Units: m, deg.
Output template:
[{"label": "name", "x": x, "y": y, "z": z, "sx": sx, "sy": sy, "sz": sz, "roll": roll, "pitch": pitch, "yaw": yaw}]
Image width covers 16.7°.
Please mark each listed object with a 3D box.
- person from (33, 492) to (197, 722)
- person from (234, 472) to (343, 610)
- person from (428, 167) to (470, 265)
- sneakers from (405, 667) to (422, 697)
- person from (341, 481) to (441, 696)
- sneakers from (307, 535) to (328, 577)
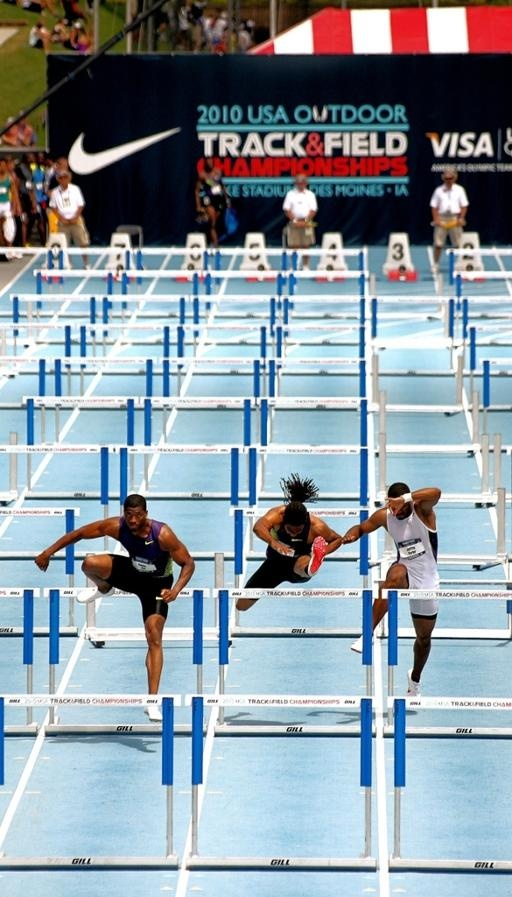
[{"label": "person", "x": -0.933, "y": 1.096, "z": 11.358, "sx": 0.644, "sy": 1.072, "sz": 0.701, "roll": 11, "pitch": 30, "yaw": 7}, {"label": "person", "x": 0.195, "y": 0.737, "z": 11.395, "sx": 0.665, "sy": 0.968, "sz": 1.322, "roll": -3, "pitch": 13, "yaw": -1}, {"label": "person", "x": 2.946, "y": -3.415, "z": 26.619, "sx": 0.404, "sy": 1.629, "sz": 0.500, "roll": 0, "pitch": 23, "yaw": 1}, {"label": "sneakers", "x": 0.961, "y": 1.440, "z": 10.602, "sx": 0.065, "sy": 0.201, "sz": 0.053, "roll": -6, "pitch": -2, "yaw": 41}, {"label": "person", "x": 0.850, "y": 0.896, "z": 10.557, "sx": 0.524, "sy": 1.475, "sz": 1.263, "roll": -1, "pitch": 13, "yaw": 4}, {"label": "sneakers", "x": 0.385, "y": 0.668, "z": 10.751, "sx": 0.083, "sy": 0.318, "sz": 0.113, "roll": 10, "pitch": -5, "yaw": -4}]
